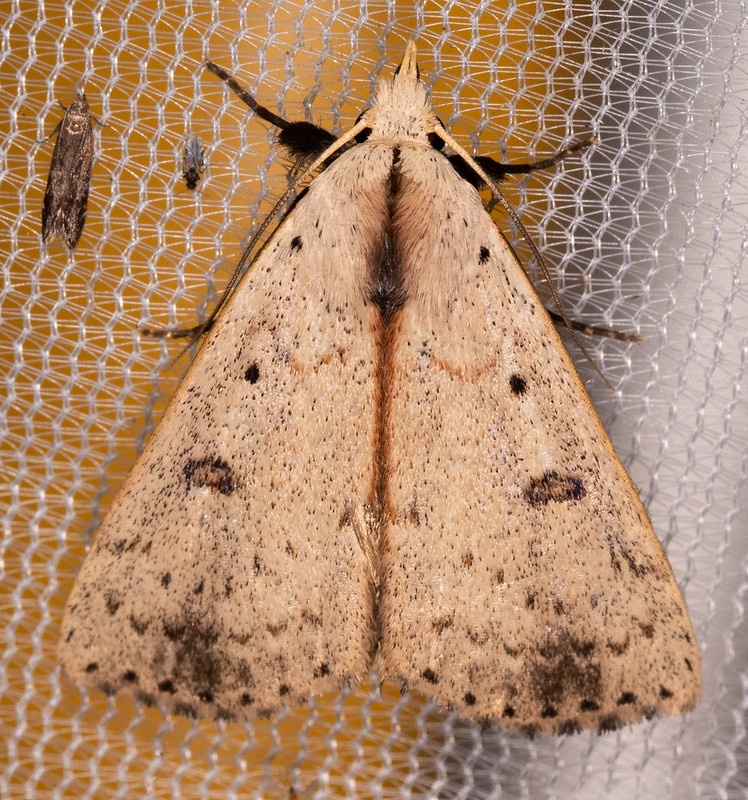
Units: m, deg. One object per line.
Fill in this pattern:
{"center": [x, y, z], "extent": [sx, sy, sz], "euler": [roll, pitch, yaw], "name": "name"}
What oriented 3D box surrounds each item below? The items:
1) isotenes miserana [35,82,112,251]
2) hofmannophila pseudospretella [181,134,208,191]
{"center": [-0.687, -0.513, 2.933], "extent": [0.159, 0.310, 0.063], "euler": [9, -16, -8], "name": "isotenes miserana"}
{"center": [-0.416, -0.506, 3.039], "extent": [0.067, 0.108, 0.033], "euler": [-31, -53, 20], "name": "hofmannophila pseudospretella"}
